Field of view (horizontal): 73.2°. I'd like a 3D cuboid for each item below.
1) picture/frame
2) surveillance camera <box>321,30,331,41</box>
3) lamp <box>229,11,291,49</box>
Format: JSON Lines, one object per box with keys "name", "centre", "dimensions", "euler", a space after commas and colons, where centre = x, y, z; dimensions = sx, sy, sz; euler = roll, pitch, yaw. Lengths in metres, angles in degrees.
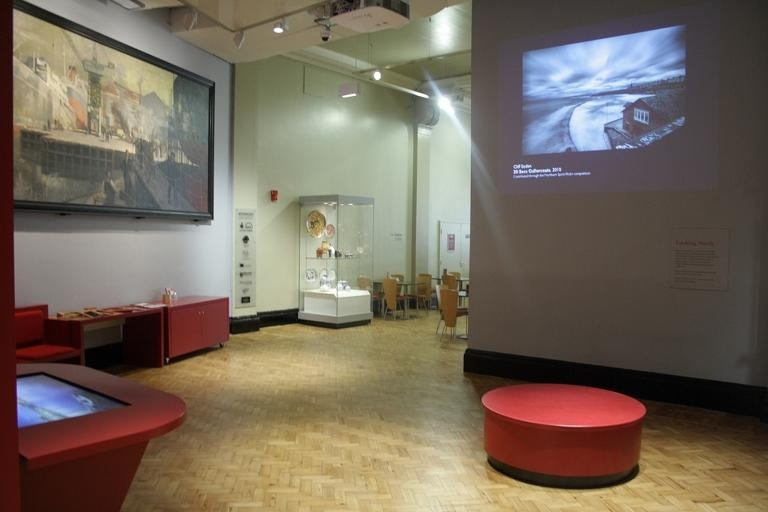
{"name": "picture/frame", "centre": [-4.197, -2.230, 7.900], "dimensions": [0.167, 2.477, 3.907], "euler": [3, -1, 23]}
{"name": "surveillance camera", "centre": [-0.911, -3.574, 8.322], "dimensions": [0.137, 0.172, 0.172], "euler": [0, -2, -19]}
{"name": "lamp", "centre": [-2.072, -3.716, 8.709], "dimensions": [1.242, 0.502, 0.873], "euler": [2, 8, 13]}
